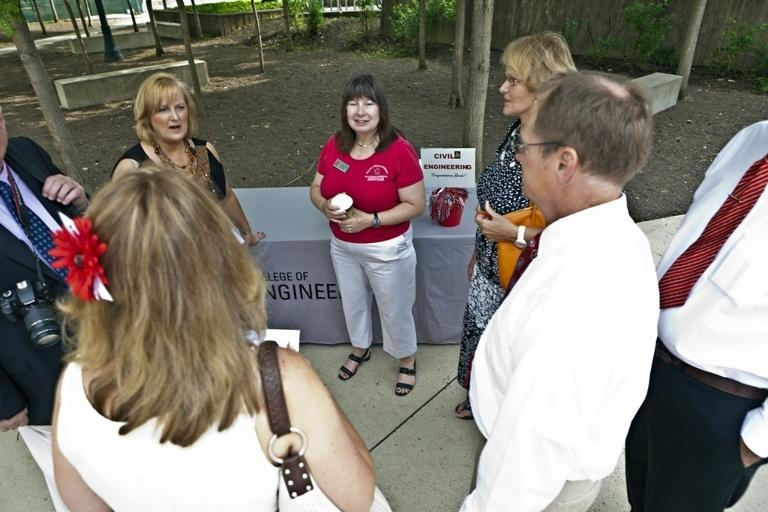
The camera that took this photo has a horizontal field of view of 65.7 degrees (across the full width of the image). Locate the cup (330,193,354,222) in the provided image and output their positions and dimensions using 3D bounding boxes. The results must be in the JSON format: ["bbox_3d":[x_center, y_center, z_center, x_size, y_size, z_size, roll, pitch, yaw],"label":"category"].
[{"bbox_3d":[-0.254,-0.306,3.623,0.132,0.136,0.124,-5,0,0],"label":"cup"}]

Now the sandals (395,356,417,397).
[{"bbox_3d":[0.150,0.844,4.070,0.103,0.080,0.292,-4,66,29],"label":"sandals"}]

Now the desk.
[{"bbox_3d":[-0.387,0.115,4.527,1.684,0.820,0.999,2,23,26],"label":"desk"}]

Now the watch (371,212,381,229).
[{"bbox_3d":[-0.049,-0.211,3.616,0.051,0.084,0.075,-3,67,-7],"label":"watch"}]

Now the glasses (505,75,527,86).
[{"bbox_3d":[0.712,-0.959,3.241,0.102,0.058,0.076,10,9,-24],"label":"glasses"}]

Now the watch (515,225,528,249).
[{"bbox_3d":[0.711,-0.098,3.098,0.066,0.111,0.104,4,11,14],"label":"watch"}]

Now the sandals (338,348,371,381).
[{"bbox_3d":[-0.168,0.763,4.230,0.113,0.137,0.306,36,78,27],"label":"sandals"}]

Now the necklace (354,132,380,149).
[{"bbox_3d":[-0.095,-0.700,3.624,0.170,0.074,0.063,12,33,22],"label":"necklace"}]
